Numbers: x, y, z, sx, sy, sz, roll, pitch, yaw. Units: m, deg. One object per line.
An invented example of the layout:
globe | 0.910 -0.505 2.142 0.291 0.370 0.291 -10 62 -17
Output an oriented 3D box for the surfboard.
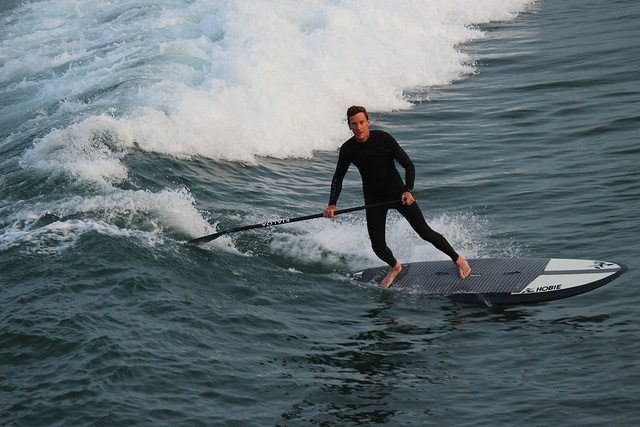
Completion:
surfboard | 3.719 1.287 20.241 6.594 0.519 1.483 -3 29 10

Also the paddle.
paddle | -0.491 0.168 21.836 4.423 0.337 0.235 -9 81 16
